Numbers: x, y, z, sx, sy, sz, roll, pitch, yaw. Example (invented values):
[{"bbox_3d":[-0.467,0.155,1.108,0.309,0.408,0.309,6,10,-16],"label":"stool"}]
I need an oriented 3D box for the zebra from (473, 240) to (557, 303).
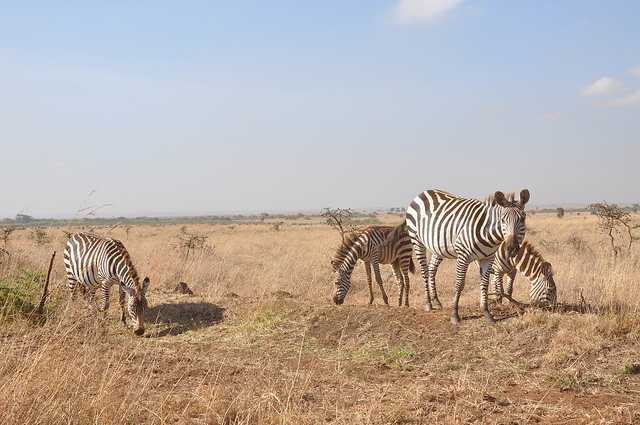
[{"bbox_3d":[5.118,1.604,18.694,0.834,1.920,3.137,-2,8,-32],"label":"zebra"}]

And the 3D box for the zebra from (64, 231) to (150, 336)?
[{"bbox_3d":[-5.704,1.851,18.110,2.993,2.569,1.087,0,1,43],"label":"zebra"}]

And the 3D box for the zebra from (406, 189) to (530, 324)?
[{"bbox_3d":[3.745,1.051,17.432,1.344,3.538,4.897,-1,4,-22],"label":"zebra"}]

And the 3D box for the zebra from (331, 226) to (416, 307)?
[{"bbox_3d":[1.598,1.565,19.719,2.793,2.425,0.725,-5,6,-22],"label":"zebra"}]
